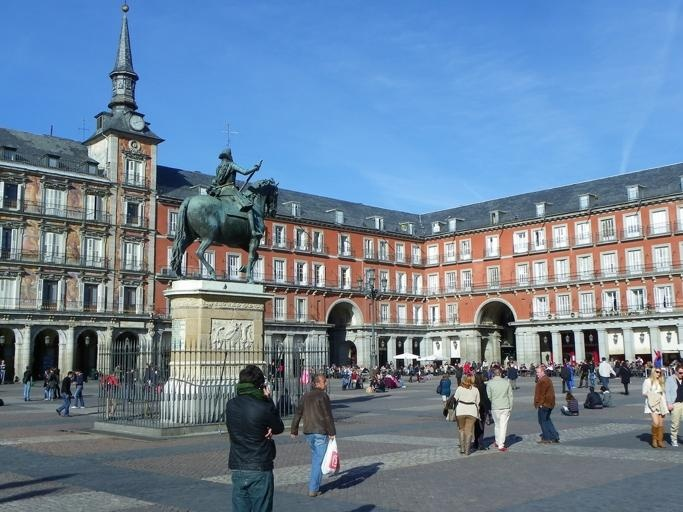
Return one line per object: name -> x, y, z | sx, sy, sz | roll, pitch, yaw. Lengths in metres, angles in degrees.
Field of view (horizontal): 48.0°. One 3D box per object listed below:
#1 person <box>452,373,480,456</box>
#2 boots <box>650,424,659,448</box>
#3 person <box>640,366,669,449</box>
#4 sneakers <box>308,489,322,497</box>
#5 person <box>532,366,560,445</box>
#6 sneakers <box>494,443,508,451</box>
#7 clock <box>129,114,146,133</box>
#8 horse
person -> 2.978, 3.740, 18.215 | 0.579, 1.844, 0.661 | 1, -10, -9
boots -> 7.666, 4.377, 18.719 | 0.180, 0.537, 0.197 | -5, -11, 25
person -> 7.879, 3.754, 19.196 | 0.554, 1.925, 1.016 | -4, -11, 21
sneakers -> -0.507, 4.514, 14.636 | 0.243, 0.097, 0.083 | -4, 1, -20
person -> 5.233, 3.762, 19.688 | 0.566, 1.968, 1.274 | -3, -10, 15
sneakers -> 3.883, 4.683, 18.797 | 0.139, 0.149, 0.364 | 3, -18, -12
clock -> -16.029, -10.459, 59.875 | 1.279, 1.667, 0.652 | 9, -14, -42
horse -> -3.452, -0.895, 22.679 | 2.920, 3.126, 1.042 | 5, -12, -30
